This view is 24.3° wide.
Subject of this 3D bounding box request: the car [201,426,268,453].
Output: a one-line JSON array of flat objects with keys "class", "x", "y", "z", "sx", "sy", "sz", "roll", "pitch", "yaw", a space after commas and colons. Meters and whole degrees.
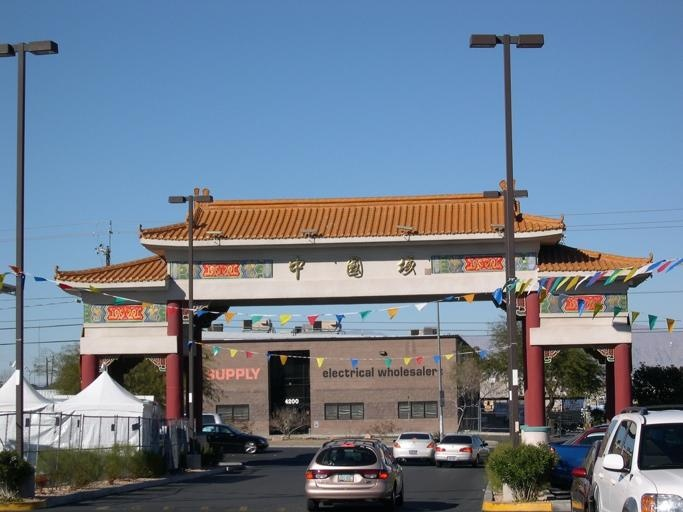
[{"class": "car", "x": -5.495, "y": 9.412, "z": 80.948, "sx": 3.652, "sy": 1.337, "sz": 1.684, "roll": 0, "pitch": -3, "yaw": 4}]
